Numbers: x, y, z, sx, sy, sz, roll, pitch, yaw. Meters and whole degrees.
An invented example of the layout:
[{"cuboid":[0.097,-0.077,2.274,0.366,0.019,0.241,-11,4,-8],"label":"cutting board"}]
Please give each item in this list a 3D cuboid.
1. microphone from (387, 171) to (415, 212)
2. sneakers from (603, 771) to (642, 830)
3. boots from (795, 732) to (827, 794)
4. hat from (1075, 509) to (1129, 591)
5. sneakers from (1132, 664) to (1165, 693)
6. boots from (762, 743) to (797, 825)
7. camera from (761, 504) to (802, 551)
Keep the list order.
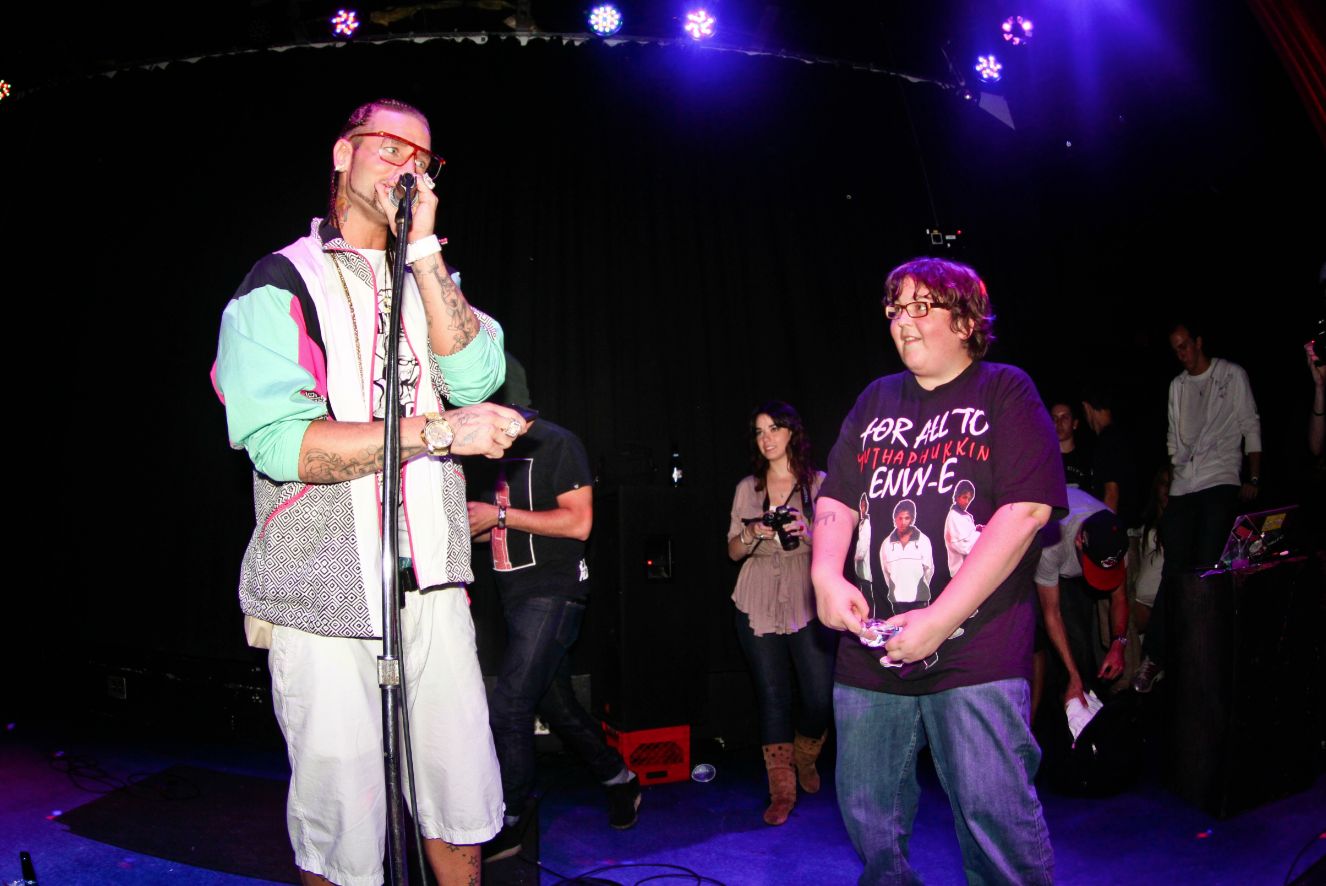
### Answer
[{"cuboid":[-0.955,-0.900,3.253,0.079,0.168,0.117,-3,4,-26],"label":"microphone"},{"cuboid":[-0.245,2.117,5.315,0.164,0.335,0.207,-2,-5,16],"label":"sneakers"},{"cuboid":[0.936,2.086,5.778,0.187,0.411,0.415,3,-3,11],"label":"boots"},{"cuboid":[2.672,0.662,5.388,0.256,0.537,0.459,0,4,24],"label":"hat"},{"cuboid":[3.108,1.505,5.637,0.176,0.120,0.110,-30,-19,-22],"label":"sneakers"},{"cuboid":[0.695,2.060,5.333,0.170,0.355,0.505,-4,-1,13],"label":"boots"},{"cuboid":[0.760,0.538,5.694,0.240,0.236,0.223,-29,7,-5],"label":"camera"}]
